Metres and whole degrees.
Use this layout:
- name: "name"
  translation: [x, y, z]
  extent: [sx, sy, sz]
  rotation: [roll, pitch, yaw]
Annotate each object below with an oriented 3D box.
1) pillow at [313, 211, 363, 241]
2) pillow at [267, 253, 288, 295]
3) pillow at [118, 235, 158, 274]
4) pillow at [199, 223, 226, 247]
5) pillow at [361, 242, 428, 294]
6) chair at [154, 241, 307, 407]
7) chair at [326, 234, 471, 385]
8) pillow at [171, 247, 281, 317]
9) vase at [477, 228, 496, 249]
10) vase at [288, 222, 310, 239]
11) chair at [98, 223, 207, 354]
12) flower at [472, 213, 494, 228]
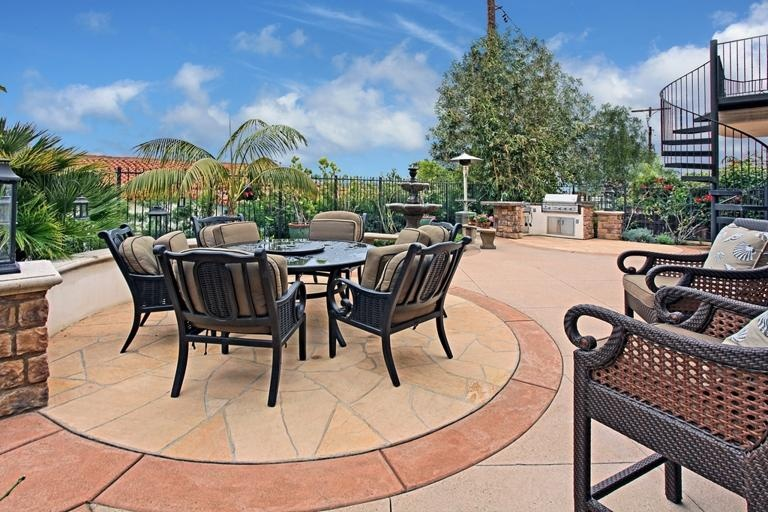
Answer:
- name: "pillow"
  translation: [-0.675, -0.449, 6.920]
  extent: [0.781, 0.408, 0.706]
  rotation: [4, -16, 1]
- name: "pillow"
  translation: [-0.831, 0.150, 3.741]
  extent: [0.145, 0.264, 0.268]
  rotation: [2, 19, 3]
- name: "pillow"
  translation: [-2.311, 0.001, 4.547]
  extent: [0.233, 0.306, 0.106]
  rotation: [-5, -33, -52]
- name: "pillow"
  translation: [-2.064, -0.235, 5.811]
  extent: [0.277, 0.248, 0.358]
  rotation: [-4, 10, -15]
- name: "pillow"
  translation: [0.097, 0.117, 4.001]
  extent: [0.454, 0.375, 0.153]
  rotation: [1, 28, -24]
- name: "chair"
  translation: [-1.194, 0.456, 3.937]
  extent: [1.046, 1.277, 1.387]
  rotation: [0, 2, 8]
- name: "chair"
  translation: [0.225, 0.350, 4.848]
  extent: [1.350, 1.619, 1.218]
  rotation: [8, 9, 41]
- name: "pillow"
  translation: [-1.144, 0.198, 3.746]
  extent: [0.570, 0.355, 0.732]
  rotation: [0, 4, -27]
- name: "vase"
  translation: [2.396, -0.400, 11.300]
  extent: [0.491, 0.332, 0.478]
  rotation: [-1, 2, 3]
- name: "vase"
  translation: [-1.900, -0.556, 10.697]
  extent: [0.611, 0.428, 0.594]
  rotation: [0, -1, -1]
- name: "chair"
  translation: [-2.510, 0.247, 4.998]
  extent: [1.234, 1.420, 1.025]
  rotation: [-1, 9, -6]
- name: "flower"
  translation: [2.603, -0.911, 12.839]
  extent: [0.640, 0.325, 0.678]
  rotation: [0, -1, -3]
